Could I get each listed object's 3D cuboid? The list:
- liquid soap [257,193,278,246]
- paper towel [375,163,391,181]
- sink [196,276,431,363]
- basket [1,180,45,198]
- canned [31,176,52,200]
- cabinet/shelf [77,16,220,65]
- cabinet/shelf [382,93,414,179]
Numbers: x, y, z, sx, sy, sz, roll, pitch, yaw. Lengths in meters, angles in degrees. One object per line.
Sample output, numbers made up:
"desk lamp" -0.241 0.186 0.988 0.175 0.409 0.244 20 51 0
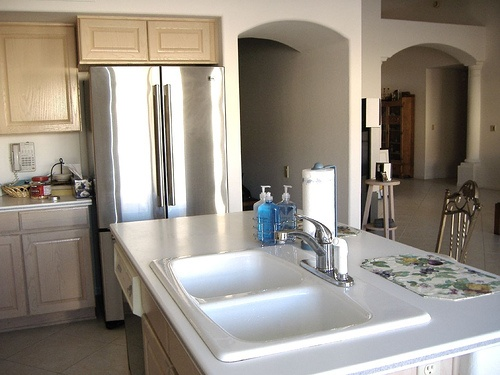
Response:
"liquid soap" 0.079 0.152 2.066 0.143 0.254 0.119 3 12 25
"paper towel" 1.608 -0.186 4.835 0.196 0.284 0.198 1 2 34
"sink" 0.172 0.430 1.400 0.372 0.098 0.359 0 3 -21
"basket" -2.073 0.017 3.629 0.223 0.103 0.291 0 -1 3
"canned" -1.835 0.007 3.549 0.205 0.199 0.152 2 1 -35
"cabinet/shelf" -0.862 -1.244 3.578 1.188 0.396 0.346 -1 -1 -4
"cabinet/shelf" 3.991 -1.385 10.885 0.828 2.243 0.383 4 12 29
